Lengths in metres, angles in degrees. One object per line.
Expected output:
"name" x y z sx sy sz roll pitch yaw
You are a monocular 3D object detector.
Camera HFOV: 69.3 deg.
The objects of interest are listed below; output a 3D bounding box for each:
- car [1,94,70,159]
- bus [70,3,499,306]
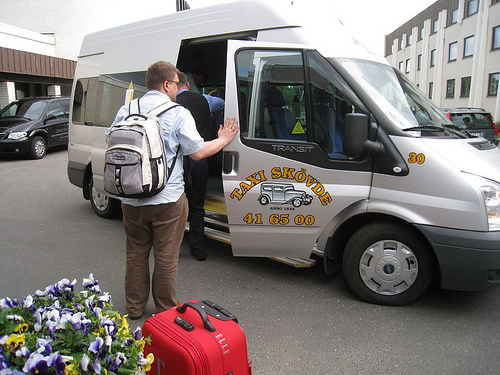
"car" -7.905 -2.404 13.445 1.557 1.464 2.920 3 7 16
"bus" 0.261 -0.523 5.381 5.567 3.135 3.289 4 9 32
